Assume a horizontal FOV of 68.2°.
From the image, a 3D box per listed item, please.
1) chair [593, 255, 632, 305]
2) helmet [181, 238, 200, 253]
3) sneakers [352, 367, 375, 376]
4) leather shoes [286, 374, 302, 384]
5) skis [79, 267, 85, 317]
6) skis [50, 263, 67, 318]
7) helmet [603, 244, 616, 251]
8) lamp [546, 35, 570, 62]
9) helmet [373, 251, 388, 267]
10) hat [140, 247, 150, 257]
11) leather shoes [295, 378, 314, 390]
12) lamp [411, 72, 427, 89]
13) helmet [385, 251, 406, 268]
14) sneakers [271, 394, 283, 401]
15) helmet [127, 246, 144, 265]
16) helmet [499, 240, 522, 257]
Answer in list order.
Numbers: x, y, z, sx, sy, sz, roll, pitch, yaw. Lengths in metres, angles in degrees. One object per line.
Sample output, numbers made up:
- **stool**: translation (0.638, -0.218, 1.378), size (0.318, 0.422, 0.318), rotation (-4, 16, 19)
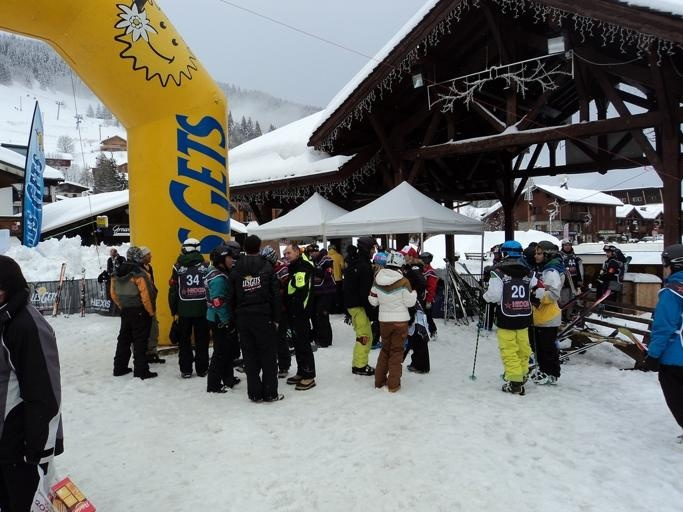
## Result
- **chair**: translation (6.498, 0.677, 12.109), size (0.490, 1.591, 0.670), rotation (5, 8, 22)
- **helmet**: translation (-2.604, -0.163, 8.716), size (0.227, 0.253, 0.300), rotation (-2, 20, -10)
- **sneakers**: translation (0.384, 1.965, 8.637), size (0.409, 0.204, 0.144), rotation (-2, -4, 2)
- **leather shoes**: translation (-0.771, 2.043, 8.269), size (0.252, 0.117, 0.108), rotation (5, -5, -12)
- **skis**: translation (-7.870, 1.160, 15.260), size (0.131, 1.389, 0.265), rotation (0, 3, -9)
- **skis**: translation (-8.670, 1.116, 15.415), size (0.157, 1.521, 0.254), rotation (7, -19, -10)
- **helmet**: translation (6.428, -0.202, 12.060), size (0.171, 0.232, 0.162), rotation (-8, 13, 40)
- **lamp**: translation (4.828, -4.611, 11.256), size (0.586, 0.477, 0.443), rotation (6, 13, 36)
- **helmet**: translation (0.670, 0.047, 8.046), size (0.235, 0.256, 0.183), rotation (2, 13, -21)
- **hat**: translation (-3.475, -0.080, 8.923), size (0.108, 0.131, 0.146), rotation (5, -2, 21)
- **leather shoes**: translation (-0.594, 2.060, 8.074), size (0.134, 0.145, 0.321), rotation (-3, -7, 32)
- **lamp**: translation (1.966, -4.419, 12.757), size (0.324, 0.353, 0.627), rotation (-3, 13, 10)
- **helmet**: translation (0.856, 0.037, 7.939), size (0.190, 0.270, 0.272), rotation (11, 31, 20)
- **sneakers**: translation (-0.954, 2.160, 7.676), size (0.118, 0.045, 0.091), rotation (-3, 4, 11)
- **helmet**: translation (-3.629, -0.009, 8.902), size (0.222, 0.298, 0.304), rotation (3, 14, -8)
- **helmet**: translation (2.762, -0.113, 8.096), size (0.299, 0.253, 0.238), rotation (-2, 7, -4)
